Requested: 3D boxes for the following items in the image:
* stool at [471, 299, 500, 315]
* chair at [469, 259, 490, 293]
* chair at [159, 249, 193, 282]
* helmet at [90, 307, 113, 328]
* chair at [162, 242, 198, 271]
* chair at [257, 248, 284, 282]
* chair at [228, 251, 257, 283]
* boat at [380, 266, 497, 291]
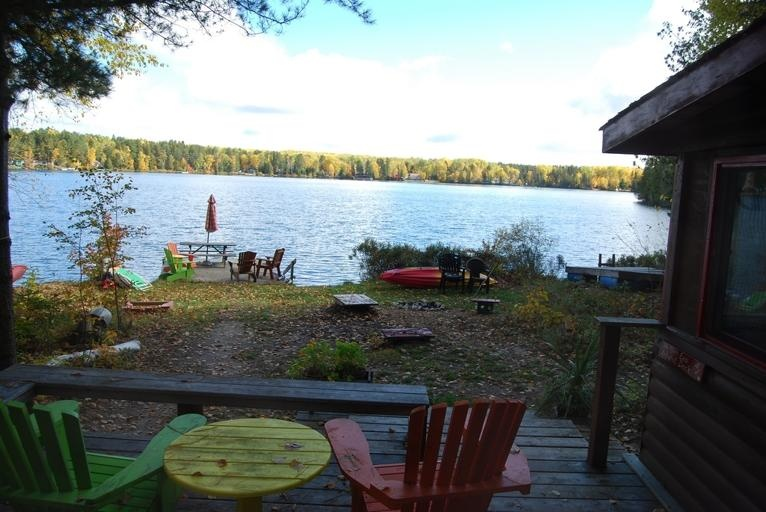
[{"bbox_3d":[2.528,1.213,14.077,0.468,0.283,0.433,1,11,7],"label":"stool"},{"bbox_3d":[2.877,0.569,17.352,0.774,0.943,0.740,3,7,-21],"label":"chair"},{"bbox_3d":[-6.676,0.308,18.586,1.046,0.960,0.897,-4,6,-45],"label":"chair"},{"bbox_3d":[-5.191,1.110,10.456,0.254,0.363,0.475,1,6,-3],"label":"helmet"},{"bbox_3d":[-6.842,0.032,19.683,1.300,1.215,1.151,1,11,-26],"label":"chair"},{"bbox_3d":[-4.079,0.224,20.550,0.860,1.038,2.434,1,6,-11],"label":"chair"},{"bbox_3d":[-4.834,0.352,19.614,1.082,1.114,1.258,0,0,-28],"label":"chair"},{"bbox_3d":[2.149,0.712,18.532,4.557,0.856,1.191,1,3,-5],"label":"boat"}]
